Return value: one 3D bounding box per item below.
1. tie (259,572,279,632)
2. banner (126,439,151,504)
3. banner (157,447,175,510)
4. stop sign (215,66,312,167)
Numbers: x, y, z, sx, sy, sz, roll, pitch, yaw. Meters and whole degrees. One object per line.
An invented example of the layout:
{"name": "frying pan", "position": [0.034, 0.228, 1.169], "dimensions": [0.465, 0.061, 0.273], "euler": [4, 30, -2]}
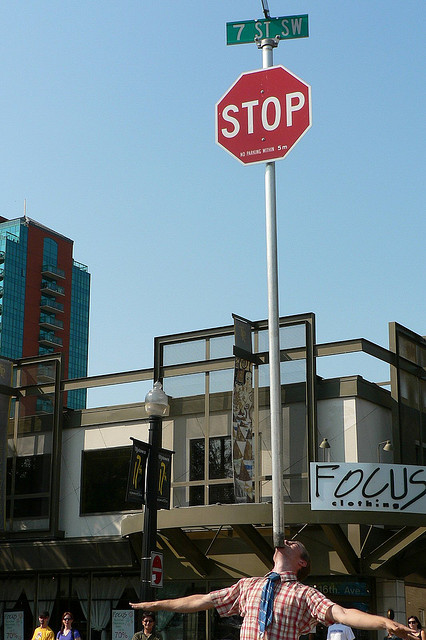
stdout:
{"name": "tie", "position": [0.267, 1.333, 4.273], "dimensions": [0.088, 0.262, 0.165], "euler": [-4, -14, 17]}
{"name": "banner", "position": [-1.033, 2.074, 12.398], "dimensions": [0.279, 0.885, 0.499], "euler": [-6, -15, 24]}
{"name": "banner", "position": [-0.755, 2.368, 13.444], "dimensions": [0.041, 0.858, 0.653], "euler": [5, -5, -25]}
{"name": "stop sign", "position": [0.637, -2.531, 11.057], "dimensions": [1.214, 1.260, 0.228], "euler": [-7, -15, 24]}
